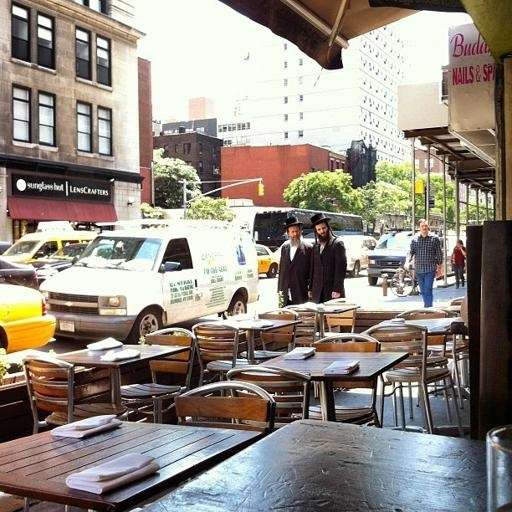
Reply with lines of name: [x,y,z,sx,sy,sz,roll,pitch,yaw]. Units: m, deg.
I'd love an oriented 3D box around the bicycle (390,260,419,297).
bicycle: [5.795,0.795,21.597,0.887,1.259,2.114,3,1,-14]

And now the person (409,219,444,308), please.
person: [3.957,0.193,13.271,0.739,2.065,1.057,-2,2,15]

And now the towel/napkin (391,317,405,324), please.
towel/napkin: [1.556,0.708,6.206,0.157,0.037,0.159,-1,-1,16]

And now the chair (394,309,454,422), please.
chair: [1.850,1.267,6.286,0.482,0.836,0.542,-10,-16,10]

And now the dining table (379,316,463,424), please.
dining table: [1.588,1.228,5.853,0.586,1.060,0.718,-9,-15,38]

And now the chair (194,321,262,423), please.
chair: [-0.369,1.241,7.128,0.830,1.157,0.815,2,3,25]

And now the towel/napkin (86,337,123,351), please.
towel/napkin: [-1.512,0.905,5.785,0.182,0.057,0.190,3,6,28]

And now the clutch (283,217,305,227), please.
clutch: [0.621,-0.596,9.813,0.220,0.093,0.245,-14,-7,-23]

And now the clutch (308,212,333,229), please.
clutch: [1.060,-0.570,9.259,0.241,0.108,0.280,-12,1,36]

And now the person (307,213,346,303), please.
person: [1.186,0.047,9.441,0.604,1.510,0.727,-3,2,2]

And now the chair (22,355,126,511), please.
chair: [-1.597,1.365,5.304,0.988,1.499,0.955,-1,-2,26]

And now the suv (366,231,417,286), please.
suv: [6.705,-0.083,26.829,2.073,2.217,4.769,1,7,25]

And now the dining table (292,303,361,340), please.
dining table: [1.089,0.873,8.517,0.633,0.606,0.645,-2,2,31]

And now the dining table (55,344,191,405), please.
dining table: [-1.363,0.984,5.464,0.741,0.713,0.756,0,1,31]

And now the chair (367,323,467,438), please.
chair: [1.680,1.262,5.974,0.891,1.301,0.808,-5,5,-37]

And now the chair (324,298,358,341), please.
chair: [1.321,0.992,8.507,0.486,0.521,0.488,7,28,30]

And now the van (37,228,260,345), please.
van: [-2.135,0.484,12.408,2.151,1.808,4.133,-3,-3,30]

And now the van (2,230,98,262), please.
van: [-7.206,-0.359,19.798,1.407,1.054,2.485,-2,-2,34]

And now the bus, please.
bus: [4.201,-1.632,41.124,2.628,2.876,10.843,1,3,39]

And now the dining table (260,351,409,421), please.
dining table: [0.669,0.859,4.430,0.705,0.671,0.717,-2,6,33]

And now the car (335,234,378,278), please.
car: [5.170,0.089,32.307,2.347,2.029,4.862,-1,-2,20]

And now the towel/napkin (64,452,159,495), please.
towel/napkin: [-0.521,0.822,2.171,0.145,0.051,0.176,2,4,33]
